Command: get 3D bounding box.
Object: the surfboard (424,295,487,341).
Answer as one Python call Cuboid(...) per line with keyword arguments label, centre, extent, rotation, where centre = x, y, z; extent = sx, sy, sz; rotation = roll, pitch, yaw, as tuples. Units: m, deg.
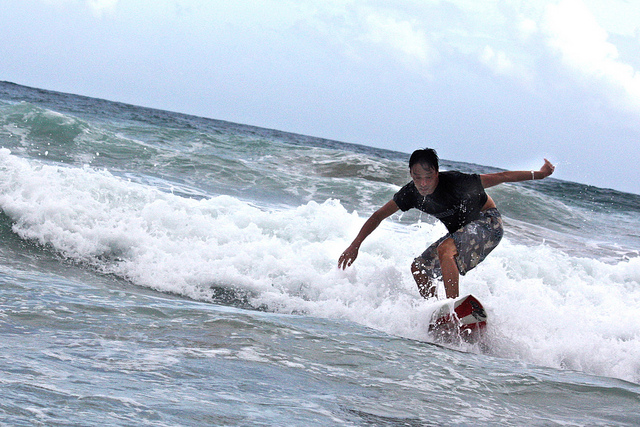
Cuboid(label="surfboard", centre=(1.442, 1.151, 7.106), extent=(0.404, 0.748, 0.167), rotation=(40, 30, -22))
